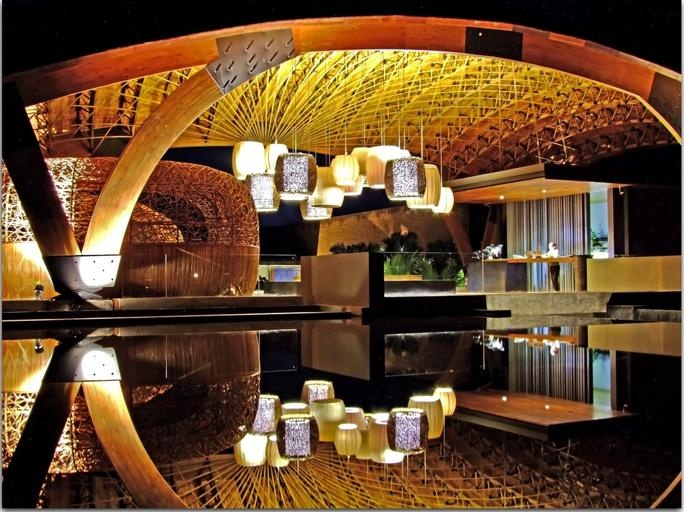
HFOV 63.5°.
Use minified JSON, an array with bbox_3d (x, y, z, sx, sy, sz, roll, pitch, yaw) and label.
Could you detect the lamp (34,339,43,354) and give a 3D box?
[{"bbox_3d":[-3.961,1.175,7.190,0.057,0.164,0.064,-4,-3,11],"label":"lamp"}]
